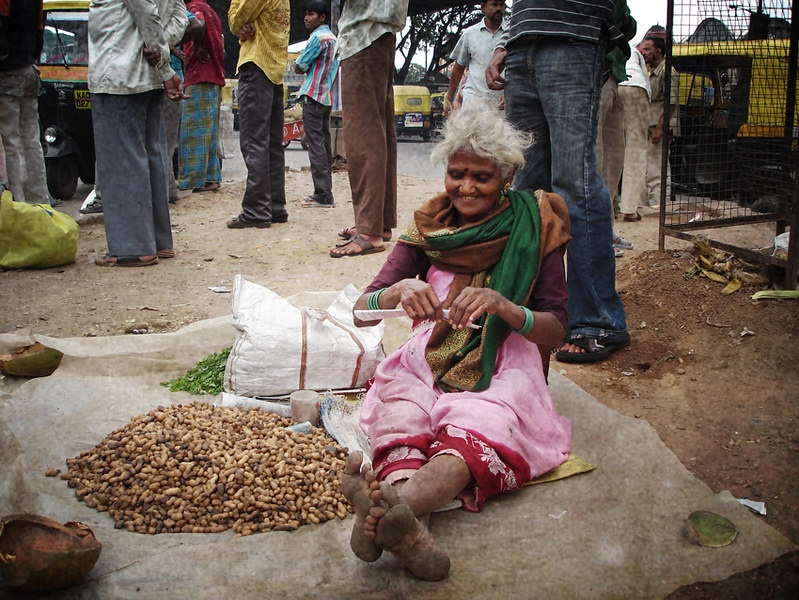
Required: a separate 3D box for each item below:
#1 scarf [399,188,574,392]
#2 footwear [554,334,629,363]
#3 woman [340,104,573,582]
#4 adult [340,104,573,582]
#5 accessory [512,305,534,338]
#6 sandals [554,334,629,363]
[{"bbox_3d":[0.442,-0.069,3.308,0.657,0.927,0.385,1,9,8],"label":"scarf"},{"bbox_3d":[1.110,0.270,3.973,0.324,0.107,0.182,-3,8,-12],"label":"footwear"},{"bbox_3d":[0.226,0.081,2.901,0.883,1.748,1.691,3,9,18],"label":"woman"},{"bbox_3d":[0.195,0.067,2.903,0.912,1.689,1.685,3,9,20],"label":"adult"},{"bbox_3d":[0.530,0.091,2.970,0.056,0.116,0.086,11,5,-23],"label":"accessory"},{"bbox_3d":[1.108,0.243,3.972,0.324,0.107,0.182,-3,8,-12],"label":"sandals"}]
